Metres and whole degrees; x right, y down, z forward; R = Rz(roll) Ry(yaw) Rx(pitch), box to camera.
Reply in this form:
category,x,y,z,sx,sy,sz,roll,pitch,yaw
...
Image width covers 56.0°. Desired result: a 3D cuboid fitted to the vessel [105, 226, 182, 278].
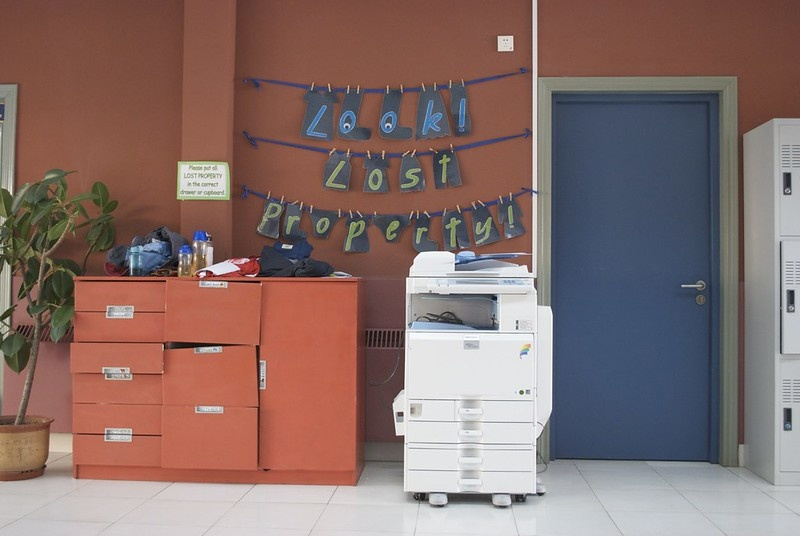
category,x,y,z,sx,sy,sz,roll,pitch,yaw
vessel,-1.827,-0.104,5.605,0.673,0.292,0.535,-21,6,-9

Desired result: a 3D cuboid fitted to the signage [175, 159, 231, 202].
category,x,y,z,sx,sy,sz,roll,pitch,yaw
signage,-1.479,-0.665,5.648,0.409,0.285,0.012,-3,10,-34

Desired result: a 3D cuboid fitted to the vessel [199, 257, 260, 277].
category,x,y,z,sx,sy,sz,roll,pitch,yaw
vessel,-1.215,-0.005,5.296,0.454,0.109,0.247,-2,14,-8

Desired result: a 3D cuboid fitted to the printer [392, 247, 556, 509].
category,x,y,z,sx,sy,sz,roll,pitch,yaw
printer,0.489,0.724,5.060,1.036,1.626,0.685,1,14,1

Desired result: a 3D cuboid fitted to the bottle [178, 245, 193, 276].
category,x,y,z,sx,sy,sz,roll,pitch,yaw
bottle,-1.531,-0.057,5.358,0.100,0.200,0.079,-4,15,-17
